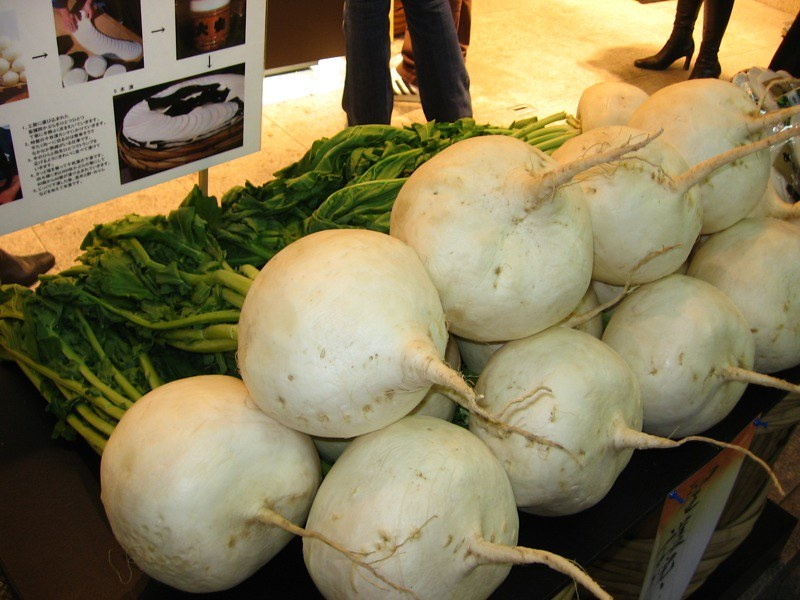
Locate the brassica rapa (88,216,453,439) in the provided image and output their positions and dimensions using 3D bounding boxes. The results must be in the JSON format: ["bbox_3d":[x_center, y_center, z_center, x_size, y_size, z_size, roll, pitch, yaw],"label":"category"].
[{"bbox_3d":[-0.212,0.142,1.591,0.694,0.512,0.501,5,68,24],"label":"brassica rapa"}]
